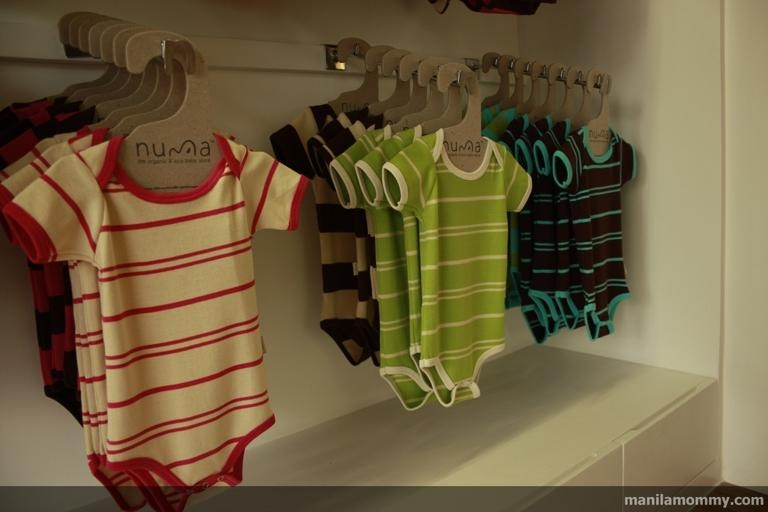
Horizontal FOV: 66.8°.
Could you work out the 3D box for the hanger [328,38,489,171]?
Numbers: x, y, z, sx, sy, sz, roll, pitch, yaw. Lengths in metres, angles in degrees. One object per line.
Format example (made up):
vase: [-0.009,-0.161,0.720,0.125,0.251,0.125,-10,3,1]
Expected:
hanger: [0.069,-0.473,1.876,0.457,0.470,0.348,-9,17,-39]

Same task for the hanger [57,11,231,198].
hanger: [-0.665,-0.395,1.550,0.182,0.384,0.462,-15,28,-39]

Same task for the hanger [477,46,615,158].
hanger: [0.674,-0.608,2.397,0.488,0.441,0.703,-4,7,23]
